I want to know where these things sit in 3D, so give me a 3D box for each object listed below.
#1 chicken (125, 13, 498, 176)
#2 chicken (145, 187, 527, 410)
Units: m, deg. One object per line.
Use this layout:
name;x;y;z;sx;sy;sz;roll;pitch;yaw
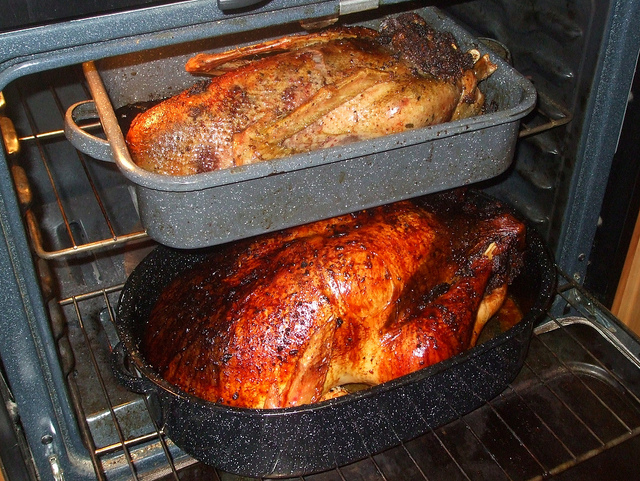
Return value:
chicken;-0.012;-0.273;1.224;0.692;0.190;0.384;-11;49;-10
chicken;0.057;0.115;1.244;0.627;0.207;0.526;-18;41;-5
